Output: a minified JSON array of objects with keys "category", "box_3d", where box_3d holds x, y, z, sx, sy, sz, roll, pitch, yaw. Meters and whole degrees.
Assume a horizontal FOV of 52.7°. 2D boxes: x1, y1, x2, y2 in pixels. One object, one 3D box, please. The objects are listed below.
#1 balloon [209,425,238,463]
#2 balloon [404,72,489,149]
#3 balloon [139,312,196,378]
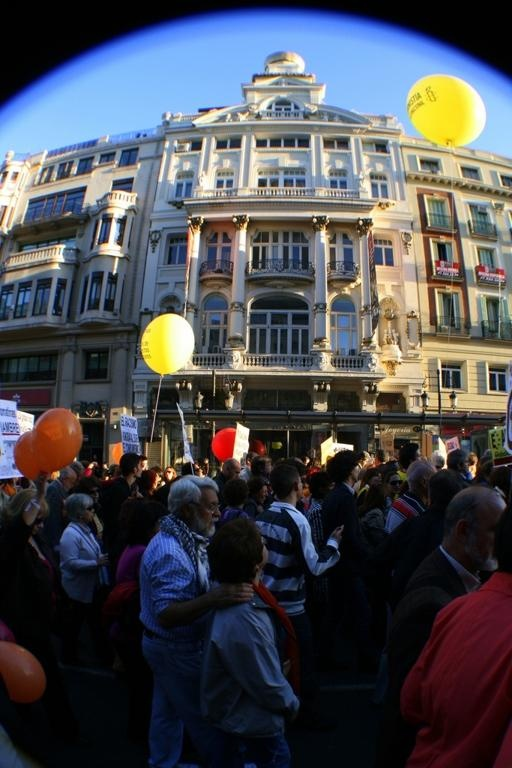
[{"category":"balloon","box_3d":[-0.606,1.223,10.458,0.702,0.884,0.710,-1,-12,-7]},{"category":"balloon","box_3d":[3.078,-4.450,8.321,1.198,1.164,1.005,0,22,16]},{"category":"balloon","box_3d":[-1.784,-0.840,11.179,1.251,1.579,1.303,6,4,40]}]
